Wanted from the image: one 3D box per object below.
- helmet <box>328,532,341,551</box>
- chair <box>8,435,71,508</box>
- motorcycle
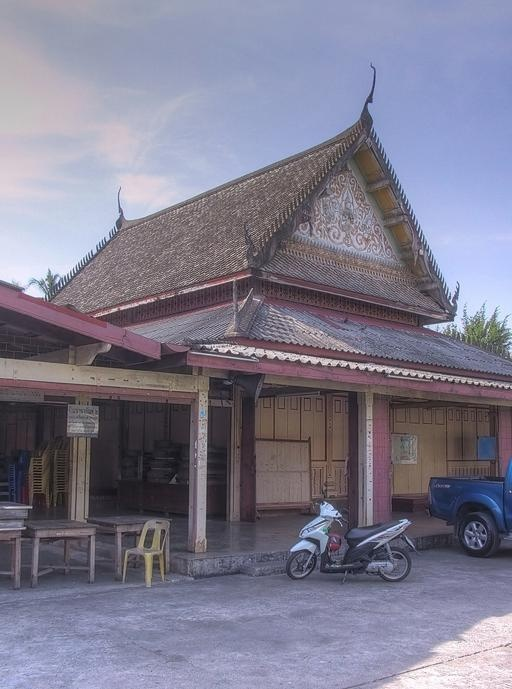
[{"bbox_3d":[1.065,2.661,9.175,0.180,0.215,0.226,9,2,-6],"label":"helmet"},{"bbox_3d":[-5.658,3.322,17.908,1.310,1.784,3.482,4,-11,-24],"label":"chair"},{"bbox_3d":[1.285,2.700,9.186,1.717,0.902,0.604,-1,-15,9],"label":"motorcycle"}]
